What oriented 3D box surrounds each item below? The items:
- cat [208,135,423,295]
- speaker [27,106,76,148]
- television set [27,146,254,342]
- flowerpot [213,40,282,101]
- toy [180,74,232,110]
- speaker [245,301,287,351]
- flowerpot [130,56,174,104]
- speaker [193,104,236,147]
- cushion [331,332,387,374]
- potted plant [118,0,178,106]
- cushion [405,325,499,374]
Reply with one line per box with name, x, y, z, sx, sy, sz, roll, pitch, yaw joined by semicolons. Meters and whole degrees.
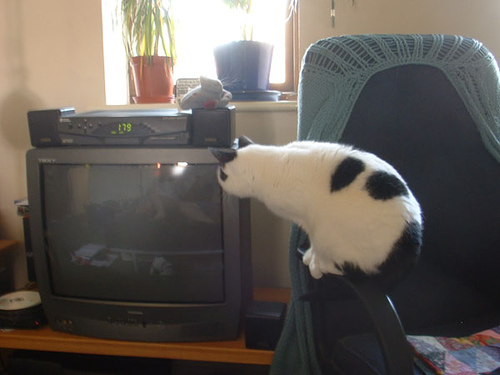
cat;0.180;0.042;1.259;0.582;0.350;0.330;8;24;26
speaker;-0.695;-0.199;1.604;0.163;0.163;0.122;-1;7;-7
television set;-0.392;0.164;1.707;0.730;0.676;0.441;0;7;2
flowerpot;-0.030;-0.467;1.857;0.259;0.225;0.288;-3;-1;19
toy;-0.152;-0.316;1.517;0.143;0.097;0.117;-1;9;4
speaker;0.053;0.459;1.533;0.138;0.149;0.147;1;0;2
flowerpot;-0.415;-0.444;1.897;0.183;0.185;0.187;-3;8;-12
speaker;-0.118;-0.207;1.479;0.123;0.127;0.131;1;10;4
cushion;0.291;0.450;1.208;0.141;0.044;0.141;-1;14;-10
potted plant;-0.454;-0.583;1.959;0.267;0.448;0.281;-1;10;-9
cushion;0.575;0.445;1.227;0.158;0.043;0.131;-1;31;-9
